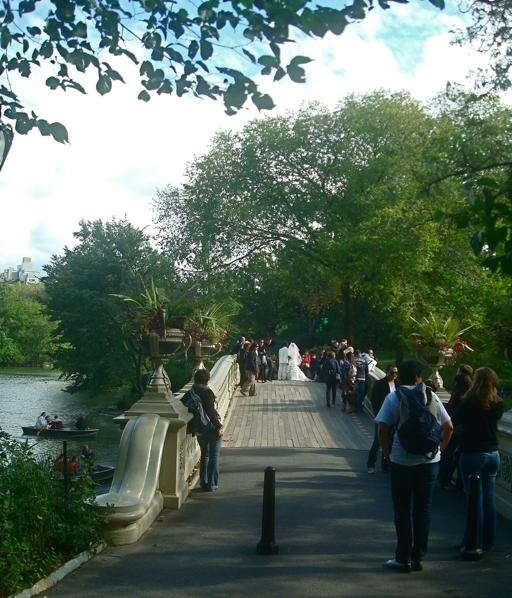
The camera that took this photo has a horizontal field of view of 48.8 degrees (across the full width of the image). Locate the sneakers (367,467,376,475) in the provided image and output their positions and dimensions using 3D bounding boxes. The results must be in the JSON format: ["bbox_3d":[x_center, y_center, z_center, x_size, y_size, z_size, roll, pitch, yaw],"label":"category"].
[{"bbox_3d":[1.928,2.875,9.464,0.135,0.080,0.215,0,-6,1],"label":"sneakers"}]

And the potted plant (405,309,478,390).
[{"bbox_3d":[3.538,1.122,11.148,1.026,1.124,1.006,5,2,31],"label":"potted plant"}]

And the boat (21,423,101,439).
[{"bbox_3d":[-13.057,8.264,34.954,6.140,0.983,1.720,1,-8,-2],"label":"boat"}]

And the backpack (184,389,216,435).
[{"bbox_3d":[-0.799,1.517,7.649,0.460,0.613,0.340,5,-9,-27],"label":"backpack"}]

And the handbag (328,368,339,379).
[{"bbox_3d":[2.415,2.350,17.540,0.321,0.279,0.530,0,-8,5],"label":"handbag"}]

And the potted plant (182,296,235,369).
[{"bbox_3d":[-1.227,0.963,12.306,1.419,1.704,1.040,-1,-3,0],"label":"potted plant"}]

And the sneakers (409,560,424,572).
[{"bbox_3d":[1.249,2.084,4.411,0.144,0.095,0.047,-2,6,-16],"label":"sneakers"}]

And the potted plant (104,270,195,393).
[{"bbox_3d":[-1.153,0.479,8.024,1.338,1.661,1.170,16,-2,-14],"label":"potted plant"}]

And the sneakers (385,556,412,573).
[{"bbox_3d":[1.123,2.084,4.460,0.069,0.074,0.179,4,-3,-27],"label":"sneakers"}]

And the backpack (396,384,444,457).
[{"bbox_3d":[1.261,0.954,4.411,0.317,0.559,0.173,-1,-8,13],"label":"backpack"}]
